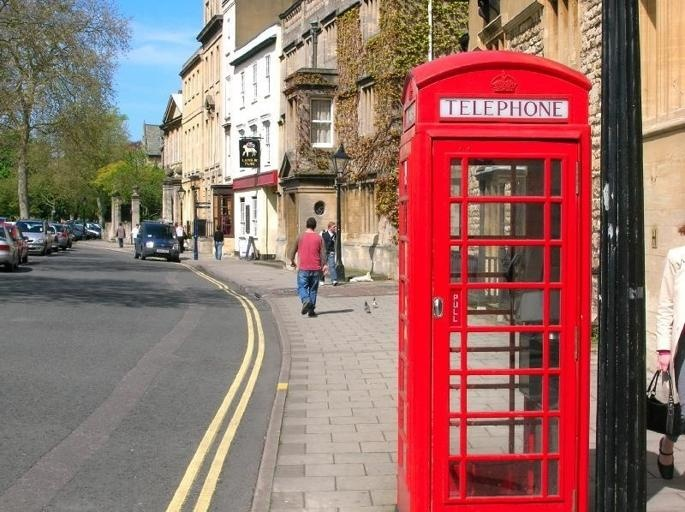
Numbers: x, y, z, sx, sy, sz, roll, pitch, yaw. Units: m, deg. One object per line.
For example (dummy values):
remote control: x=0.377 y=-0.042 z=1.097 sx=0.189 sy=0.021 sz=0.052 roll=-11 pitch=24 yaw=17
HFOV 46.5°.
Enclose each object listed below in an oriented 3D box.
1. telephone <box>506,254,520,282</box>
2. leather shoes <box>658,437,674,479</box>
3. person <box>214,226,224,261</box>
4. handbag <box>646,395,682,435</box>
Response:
telephone: x=1.143 y=0.076 z=5.379 sx=0.093 sy=0.173 sz=0.025 roll=0 pitch=1 yaw=13
leather shoes: x=2.598 y=1.644 z=6.400 sx=0.093 sy=0.374 sz=0.087 roll=-2 pitch=-12 yaw=12
person: x=-6.580 y=-0.725 z=41.954 sx=0.413 sy=1.712 sz=1.728 roll=0 pitch=1 yaw=-11
handbag: x=2.362 y=1.184 z=5.840 sx=0.255 sy=0.257 sz=0.248 roll=0 pitch=1 yaw=26
